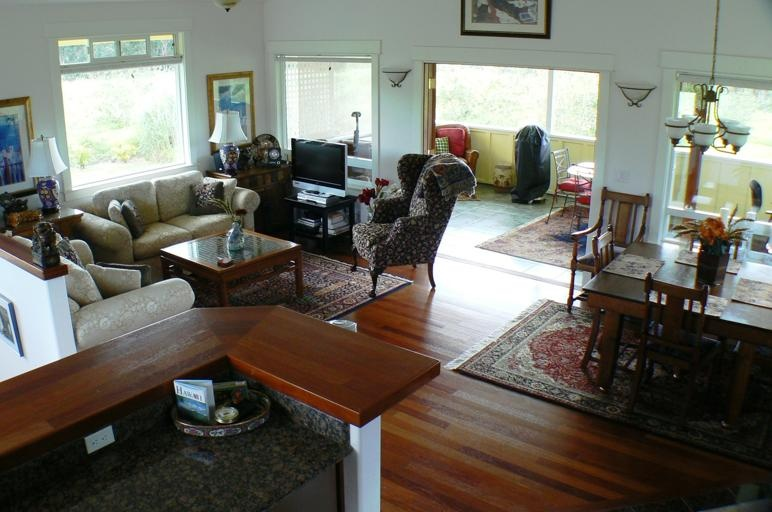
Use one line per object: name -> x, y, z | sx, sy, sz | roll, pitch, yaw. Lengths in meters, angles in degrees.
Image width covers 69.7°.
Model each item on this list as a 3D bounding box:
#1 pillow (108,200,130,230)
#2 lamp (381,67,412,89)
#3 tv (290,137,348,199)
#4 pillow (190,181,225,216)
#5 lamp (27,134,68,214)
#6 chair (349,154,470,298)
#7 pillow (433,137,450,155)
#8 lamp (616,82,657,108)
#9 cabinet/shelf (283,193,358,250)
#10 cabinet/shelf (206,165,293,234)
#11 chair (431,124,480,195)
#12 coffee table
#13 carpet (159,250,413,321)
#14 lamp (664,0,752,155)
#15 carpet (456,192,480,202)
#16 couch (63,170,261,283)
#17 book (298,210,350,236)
pillow -> -3.192, -0.508, 6.730 | 0.175, 0.321, 0.459 | -12, 21, -29
lamp -> 0.168, -2.408, 7.473 | 0.455, 0.239, 0.230 | 5, 31, 9
tv -> -0.961, -1.270, 7.872 | 0.275, 0.745, 1.091 | 2, 2, 37
pillow -> -2.328, -0.770, 7.405 | 0.463, 0.451, 0.169 | -2, -5, 0
lamp -> -3.922, -0.972, 6.559 | 0.367, 0.850, 0.535 | -13, 22, -30
chair -> 0.280, -0.442, 6.788 | 1.580, 1.546, 1.356 | 10, 21, 31
pillow -> 1.087, -2.088, 10.347 | 0.251, 0.263, 0.379 | 1, 19, 6
lamp -> 2.753, -1.783, 6.133 | 0.396, 0.264, 0.091 | 6, 20, 21
cabinet/shelf -> -0.810, -0.713, 8.001 | 0.851, 0.789, 0.858 | 17, 30, 32
cabinet/shelf -> -1.942, -0.846, 8.393 | 0.675, 0.969, 1.061 | 8, 22, 30
chair -> 1.225, -1.822, 10.353 | 0.953, 1.152, 0.859 | -8, 15, -18
coffee table -> -1.794, -0.030, 6.376 | 1.056, 0.604, 1.028 | 18, 28, 37
carpet -> -1.063, 0.417, 6.770 | 1.805, 0.011, 1.987 | -23, 25, -36
lamp -> 3.093, -1.659, 5.258 | 0.692, 1.535, 1.627 | 9, 21, 27
carpet -> 1.498, -1.059, 9.869 | 0.456, 0.049, 0.431 | 2, 17, 6
couch -> -2.673, -0.350, 6.618 | 0.584, 0.565, 1.319 | 23, 35, 33
book -> -0.737, -0.504, 7.823 | 0.449, 0.101, 0.454 | 17, 25, 37
